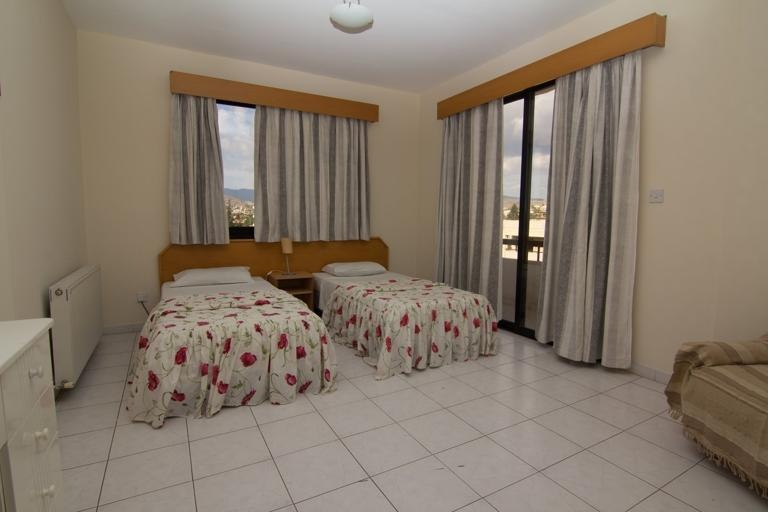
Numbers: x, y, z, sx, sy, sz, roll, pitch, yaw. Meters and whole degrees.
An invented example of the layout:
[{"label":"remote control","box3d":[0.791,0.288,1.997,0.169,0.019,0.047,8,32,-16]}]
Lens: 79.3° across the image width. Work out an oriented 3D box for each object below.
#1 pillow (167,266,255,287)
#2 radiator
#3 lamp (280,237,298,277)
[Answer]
[{"label":"pillow","box3d":[-1.969,0.236,5.300,0.576,0.119,0.366,-2,9,-25]},{"label":"radiator","box3d":[-2.772,0.639,4.161,0.138,0.624,1.013,-3,14,-19]},{"label":"lamp","box3d":[-1.244,-0.007,5.978,0.154,0.455,0.344,-4,9,-14]}]
